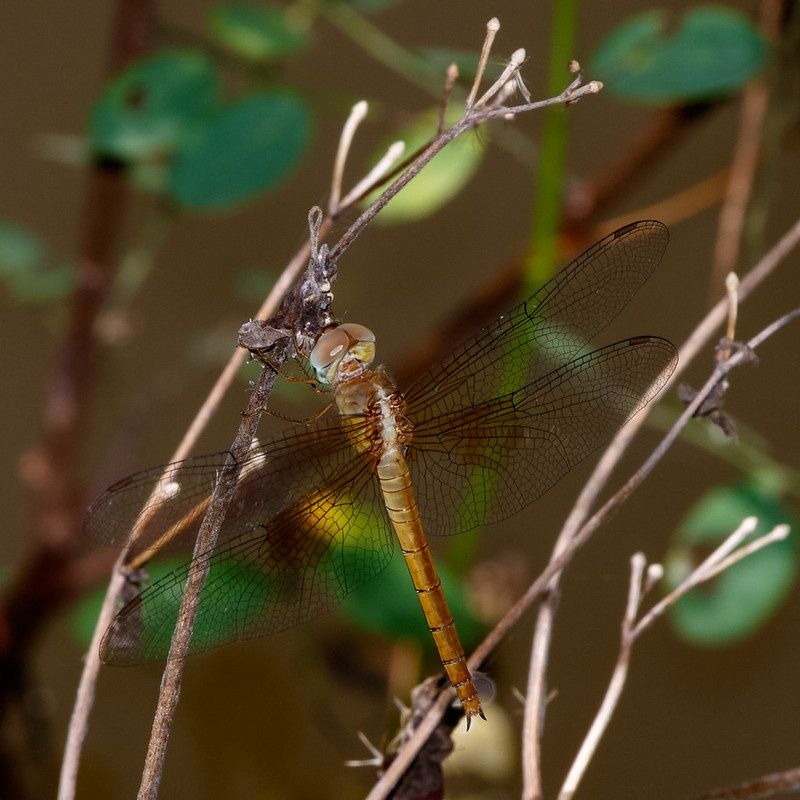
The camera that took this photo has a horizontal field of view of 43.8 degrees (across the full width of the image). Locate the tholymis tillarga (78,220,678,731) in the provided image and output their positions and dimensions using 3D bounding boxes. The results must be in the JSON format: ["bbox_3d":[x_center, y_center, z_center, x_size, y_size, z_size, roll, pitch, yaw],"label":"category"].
[{"bbox_3d":[0.038,0.058,0.810,0.437,0.366,0.161,-8,13,-15],"label":"tholymis tillarga"}]
